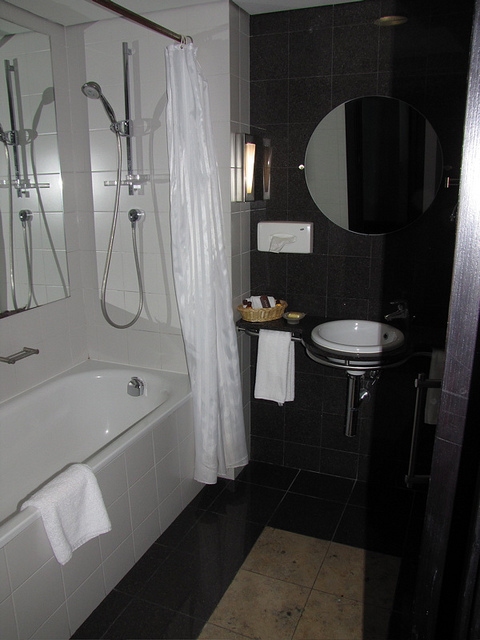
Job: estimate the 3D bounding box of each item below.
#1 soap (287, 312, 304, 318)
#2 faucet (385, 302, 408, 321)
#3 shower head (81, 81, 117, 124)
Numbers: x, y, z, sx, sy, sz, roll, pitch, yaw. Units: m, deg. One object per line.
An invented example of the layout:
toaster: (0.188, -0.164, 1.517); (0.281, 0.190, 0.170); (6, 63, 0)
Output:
soap: (0.297, -0.030, 2.692); (0.037, 0.014, 0.046); (1, 10, 9)
faucet: (0.779, -0.044, 2.435); (0.130, 0.155, 0.065); (1, 6, 32)
shower head: (-0.686, -1.077, 2.441); (0.133, 0.193, 0.408); (-2, 14, -11)
